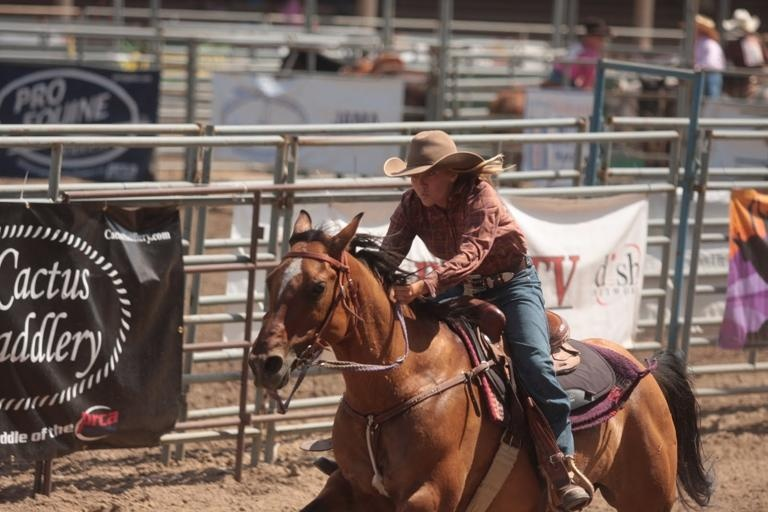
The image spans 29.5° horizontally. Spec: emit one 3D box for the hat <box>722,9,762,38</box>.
[{"bbox_3d":[5.624,-3.689,23.153,0.305,0.380,0.627,19,-4,-39],"label":"hat"}]

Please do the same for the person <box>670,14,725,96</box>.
[{"bbox_3d":[4.926,-3.062,22.118,0.485,1.277,1.725,3,5,12],"label":"person"}]

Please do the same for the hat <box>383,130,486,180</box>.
[{"bbox_3d":[0.474,-0.968,14.244,0.629,0.252,0.657,-8,-3,32],"label":"hat"}]
